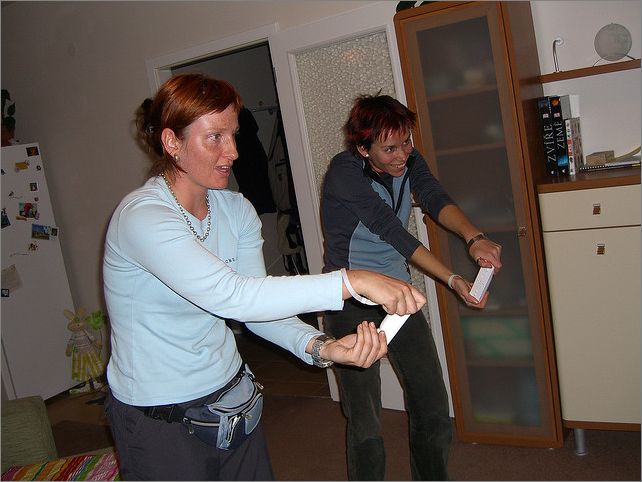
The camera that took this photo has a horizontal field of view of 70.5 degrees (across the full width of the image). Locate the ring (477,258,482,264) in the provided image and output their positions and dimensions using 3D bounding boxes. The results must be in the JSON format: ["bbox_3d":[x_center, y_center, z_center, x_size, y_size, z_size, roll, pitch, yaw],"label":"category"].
[{"bbox_3d":[0.671,0.081,1.920,0.005,0.016,0.016,-17,40,-41],"label":"ring"}]

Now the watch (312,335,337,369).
[{"bbox_3d":[-0.004,0.301,1.237,0.079,0.088,0.054,13,-12,-41],"label":"watch"}]

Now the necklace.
[{"bbox_3d":[-0.370,-0.099,1.263,0.014,0.200,0.143,-23,12,5],"label":"necklace"}]

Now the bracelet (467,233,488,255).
[{"bbox_3d":[0.657,0.010,1.945,0.078,0.032,0.082,-41,-25,27],"label":"bracelet"}]

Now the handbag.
[{"bbox_3d":[-0.346,0.477,1.362,0.327,0.163,0.292,15,26,29],"label":"handbag"}]
